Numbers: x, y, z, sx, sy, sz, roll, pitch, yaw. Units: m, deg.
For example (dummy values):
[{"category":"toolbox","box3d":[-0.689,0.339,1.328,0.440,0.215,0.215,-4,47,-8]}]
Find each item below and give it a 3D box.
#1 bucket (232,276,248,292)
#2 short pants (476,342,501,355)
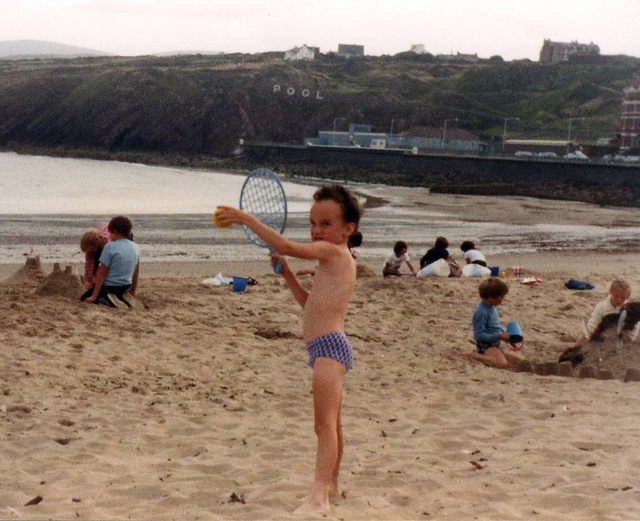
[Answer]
[{"category":"bucket","box3d":[-5.408,1.694,88.270,0.938,1.051,0.809,0,-5,12]},{"category":"short pants","box3d":[10.549,5.712,85.271,0.954,0.489,0.749,6,-8,-28]}]
